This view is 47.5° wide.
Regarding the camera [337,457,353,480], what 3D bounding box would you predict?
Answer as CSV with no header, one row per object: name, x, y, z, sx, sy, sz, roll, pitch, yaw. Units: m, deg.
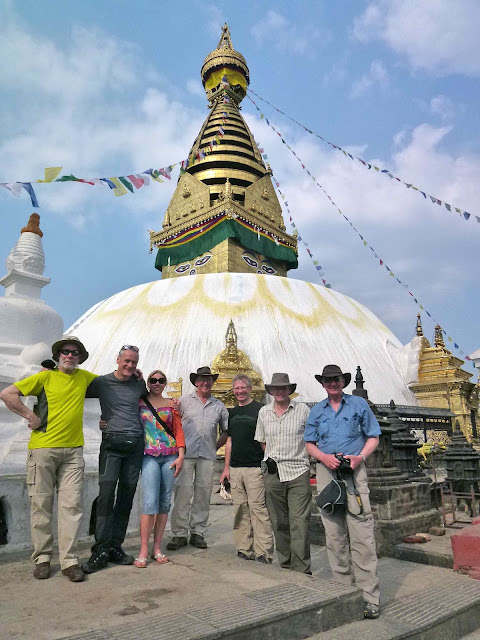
camera,0.719,1.035,3.824,0.146,0.065,0.144,10,28,-4

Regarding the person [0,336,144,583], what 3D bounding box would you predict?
person,-1.267,0.880,3.651,0.744,1.571,0.559,11,-11,-11

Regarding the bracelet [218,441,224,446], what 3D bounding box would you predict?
bracelet,-0.189,1.178,5.127,0.059,0.049,0.020,-8,22,-38

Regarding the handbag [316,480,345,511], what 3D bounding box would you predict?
handbag,0.631,1.228,3.781,0.201,0.240,0.135,5,-11,14

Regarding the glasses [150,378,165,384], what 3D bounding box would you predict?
glasses,-0.647,0.482,4.274,0.073,0.023,0.068,3,-27,-9

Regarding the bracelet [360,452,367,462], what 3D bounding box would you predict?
bracelet,0.851,0.967,3.813,0.028,0.071,0.063,-20,10,21
